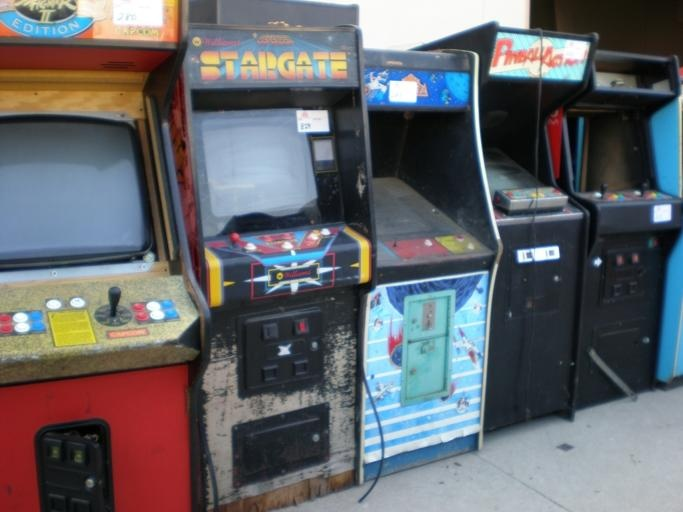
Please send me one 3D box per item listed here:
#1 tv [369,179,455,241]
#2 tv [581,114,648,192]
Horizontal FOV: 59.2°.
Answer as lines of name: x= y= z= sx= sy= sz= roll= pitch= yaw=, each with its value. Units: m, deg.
tv: x=0.367 y=-0.229 z=3.259 sx=0.323 sy=0.107 sz=0.464 roll=-6 pitch=46 yaw=-13
tv: x=1.825 y=-0.702 z=4.001 sx=0.382 sy=0.464 sz=0.204 roll=1 pitch=20 yaw=22
